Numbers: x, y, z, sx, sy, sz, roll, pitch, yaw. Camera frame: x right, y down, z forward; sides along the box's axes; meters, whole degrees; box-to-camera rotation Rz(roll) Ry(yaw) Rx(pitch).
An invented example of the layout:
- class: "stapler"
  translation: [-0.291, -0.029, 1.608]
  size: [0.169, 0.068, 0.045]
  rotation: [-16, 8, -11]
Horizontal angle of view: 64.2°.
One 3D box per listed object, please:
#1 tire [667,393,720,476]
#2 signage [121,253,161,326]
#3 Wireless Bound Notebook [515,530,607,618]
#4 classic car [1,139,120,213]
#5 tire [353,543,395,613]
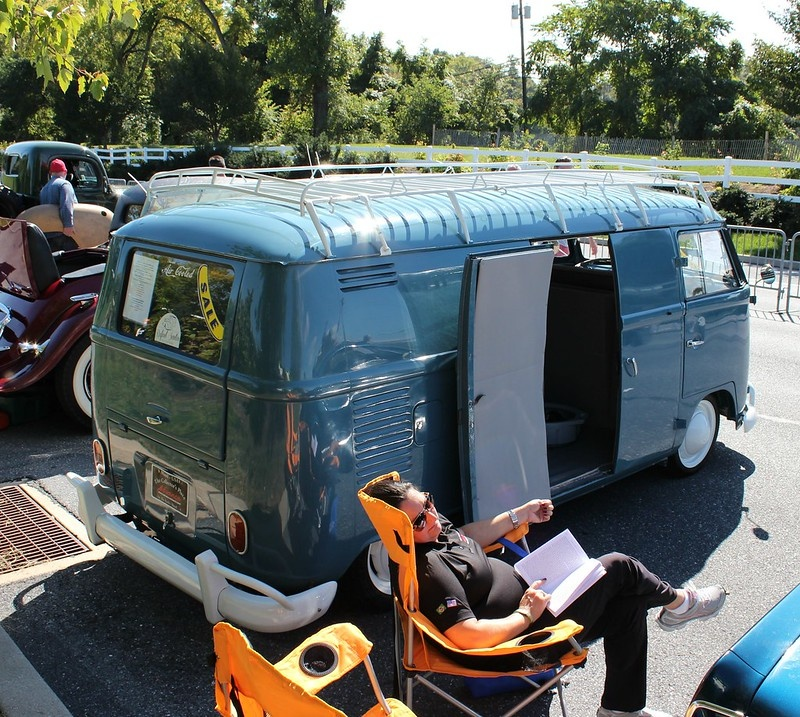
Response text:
- class: "tire"
  translation: [2.531, 0.639, 5.617]
  size: [0.712, 0.760, 0.320]
  rotation: [1, 12, -41]
- class: "signage"
  translation: [-1.541, -0.423, 3.825]
  size: [0.191, 0.409, 0.029]
  rotation: [13, 2, 10]
- class: "Wireless Bound Notebook"
  translation: [0.712, 0.930, 2.794]
  size: [0.324, 0.123, 0.314]
  rotation: [-35, 61, -21]
- class: "classic car"
  translation: [-7.162, -3.866, 13.539]
  size: [2.369, 1.487, 1.409]
  rotation: [-15, 24, -41]
- class: "tire"
  translation: [-0.122, 1.220, 3.625]
  size: [0.108, 0.309, 0.291]
  rotation: [-10, 3, -17]
